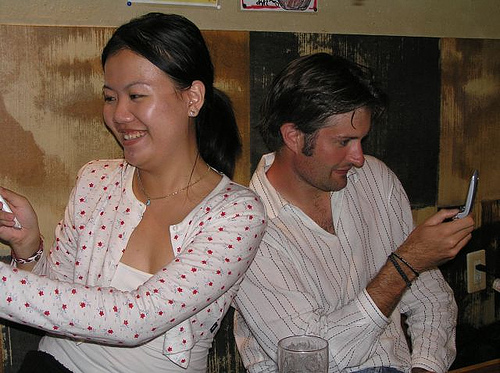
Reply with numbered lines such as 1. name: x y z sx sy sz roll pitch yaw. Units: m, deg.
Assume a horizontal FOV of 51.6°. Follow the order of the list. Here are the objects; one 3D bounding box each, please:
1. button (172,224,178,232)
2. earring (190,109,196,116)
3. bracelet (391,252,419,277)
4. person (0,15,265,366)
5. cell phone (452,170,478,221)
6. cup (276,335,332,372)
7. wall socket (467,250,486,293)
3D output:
1. button: -0.243 0.134 1.672 0.014 0.015 0.003 15 -3 13
2. earring: -0.190 -0.244 1.698 0.018 0.018 0.005 0 6 -21
3. bracelet: 0.545 0.268 1.820 0.081 0.020 0.086 44 5 8
4. person: -0.380 -0.047 1.674 0.853 1.001 0.561 0 4 -4
5. cell phone: 0.731 0.033 1.758 0.068 0.180 0.158 0 4 -5
6. cup: 0.157 0.501 1.543 0.133 0.092 0.148 -3 5 -33
7. wall socket: 1.077 0.400 2.457 0.126 0.200 0.030 -2 5 -28
